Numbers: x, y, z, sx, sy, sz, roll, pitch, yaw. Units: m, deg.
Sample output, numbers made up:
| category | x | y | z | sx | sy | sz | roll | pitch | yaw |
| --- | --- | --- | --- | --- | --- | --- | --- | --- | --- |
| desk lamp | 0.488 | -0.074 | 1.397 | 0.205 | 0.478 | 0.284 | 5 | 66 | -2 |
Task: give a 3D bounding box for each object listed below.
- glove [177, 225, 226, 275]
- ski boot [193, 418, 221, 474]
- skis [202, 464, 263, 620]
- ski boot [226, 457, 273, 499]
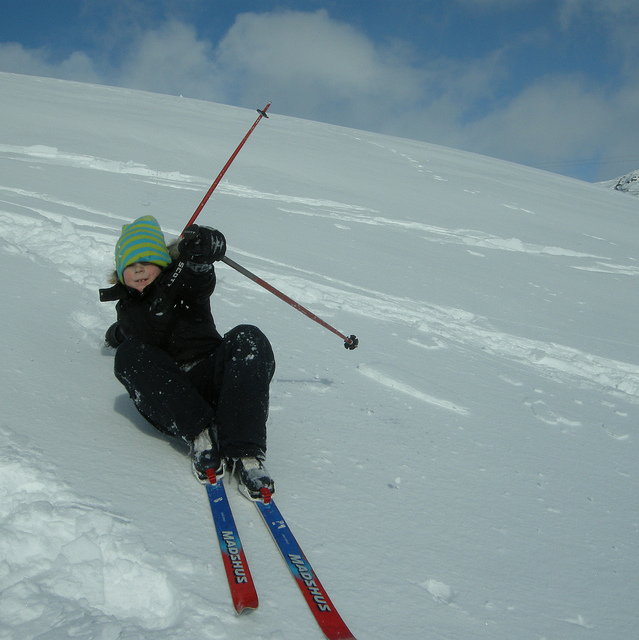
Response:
| category | x | y | z | sx | sy | sz | roll | pitch | yaw |
| --- | --- | --- | --- | --- | --- | --- | --- | --- | --- |
| glove | -0.581 | -0.361 | 4.356 | 0.164 | 0.233 | 0.193 | 16 | 25 | -8 |
| ski boot | -0.550 | 0.619 | 4.119 | 0.124 | 0.111 | 0.278 | -13 | 40 | -12 |
| skis | -0.401 | 0.982 | 3.698 | 0.175 | 0.071 | 0.701 | -12 | 33 | -20 |
| ski boot | -0.317 | 0.732 | 4.025 | 0.103 | 0.112 | 0.260 | -33 | 64 | -25 |
